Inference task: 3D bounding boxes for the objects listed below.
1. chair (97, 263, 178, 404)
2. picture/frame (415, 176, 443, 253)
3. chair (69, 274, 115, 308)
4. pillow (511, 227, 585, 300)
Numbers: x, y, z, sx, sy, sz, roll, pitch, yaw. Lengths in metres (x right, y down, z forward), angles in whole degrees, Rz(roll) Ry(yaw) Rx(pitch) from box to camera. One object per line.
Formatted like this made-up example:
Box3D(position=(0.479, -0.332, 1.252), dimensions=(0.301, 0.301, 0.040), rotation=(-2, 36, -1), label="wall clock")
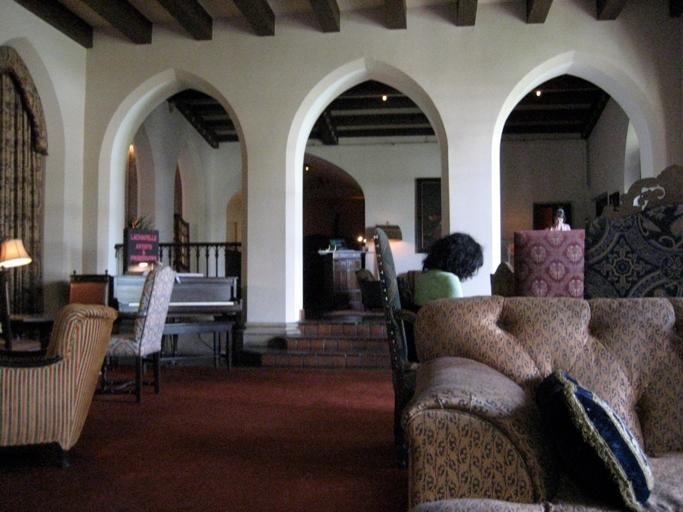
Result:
Box3D(position=(-2.039, 0.717, 5.661), dimensions=(0.781, 1.237, 0.826), rotation=(3, -4, -22), label="chair")
Box3D(position=(1.833, -0.817, 12.007), dimensions=(0.680, 1.594, 0.093), rotation=(-4, 10, -13), label="picture/frame")
Box3D(position=(-2.894, 0.414, 6.871), dimensions=(0.307, 0.364, 0.189), rotation=(1, -1, 6), label="chair")
Box3D(position=(1.457, 0.076, 4.053), dimensions=(0.423, 0.480, 0.156), rotation=(0, -13, 20), label="pillow")
